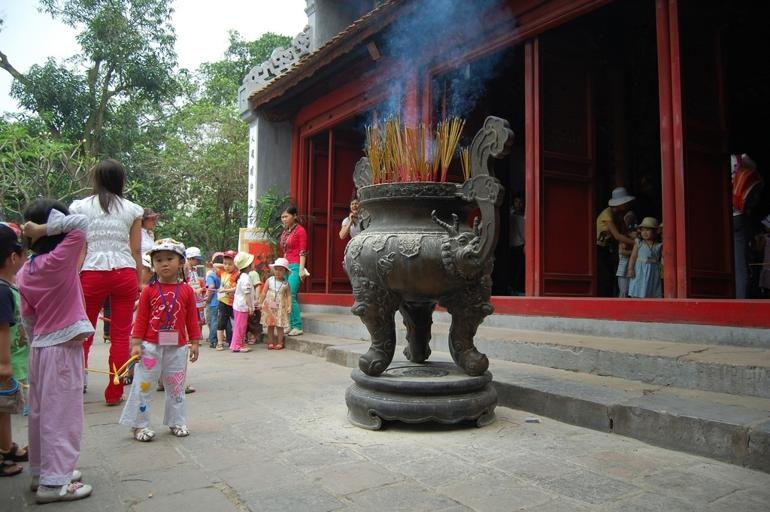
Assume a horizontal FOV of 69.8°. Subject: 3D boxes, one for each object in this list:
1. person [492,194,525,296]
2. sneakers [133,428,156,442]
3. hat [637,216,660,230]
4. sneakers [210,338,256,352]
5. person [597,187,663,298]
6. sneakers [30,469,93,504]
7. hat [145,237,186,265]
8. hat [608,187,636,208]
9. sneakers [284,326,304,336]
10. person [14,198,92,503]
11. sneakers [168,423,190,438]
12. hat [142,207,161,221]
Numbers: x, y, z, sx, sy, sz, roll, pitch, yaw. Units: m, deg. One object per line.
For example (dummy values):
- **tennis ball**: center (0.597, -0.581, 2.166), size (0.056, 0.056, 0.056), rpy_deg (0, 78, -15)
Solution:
- **person**: center (2.338, -0.180, 10.150), size (0.598, 1.768, 0.867), rpy_deg (-4, 9, -19)
- **sneakers**: center (-1.902, 1.407, 4.358), size (0.079, 0.068, 0.153), rpy_deg (2, -5, -43)
- **hat**: center (3.415, -0.434, 7.056), size (0.219, 0.085, 0.189), rpy_deg (7, -7, -26)
- **sneakers**: center (-2.229, 1.243, 7.918), size (0.676, 0.301, 0.233), rpy_deg (-2, -2, 7)
- **person**: center (3.315, -0.075, 7.430), size (0.633, 1.356, 1.431), rpy_deg (0, 9, 10)
- **sneakers**: center (-2.088, 1.514, 3.716), size (0.477, 0.211, 0.171), rpy_deg (0, -1, -15)
- **hat**: center (-1.824, -0.057, 4.755), size (0.219, 0.135, 0.290), rpy_deg (-3, 4, 30)
- **hat**: center (3.448, -0.848, 8.045), size (0.344, 0.185, 0.333), rpy_deg (-23, 21, -15)
- **sneakers**: center (-1.352, 1.122, 8.134), size (0.217, 0.093, 0.093), rpy_deg (6, -6, -45)
- **person**: center (-2.278, 0.603, 3.815), size (0.498, 1.953, 0.841), rpy_deg (-5, 9, -25)
- **sneakers**: center (-1.672, 1.407, 4.452), size (0.189, 0.077, 0.073), rpy_deg (-3, -1, 32)
- **hat**: center (-2.695, -0.485, 6.297), size (0.307, 0.123, 0.243), rpy_deg (0, -1, 43)
